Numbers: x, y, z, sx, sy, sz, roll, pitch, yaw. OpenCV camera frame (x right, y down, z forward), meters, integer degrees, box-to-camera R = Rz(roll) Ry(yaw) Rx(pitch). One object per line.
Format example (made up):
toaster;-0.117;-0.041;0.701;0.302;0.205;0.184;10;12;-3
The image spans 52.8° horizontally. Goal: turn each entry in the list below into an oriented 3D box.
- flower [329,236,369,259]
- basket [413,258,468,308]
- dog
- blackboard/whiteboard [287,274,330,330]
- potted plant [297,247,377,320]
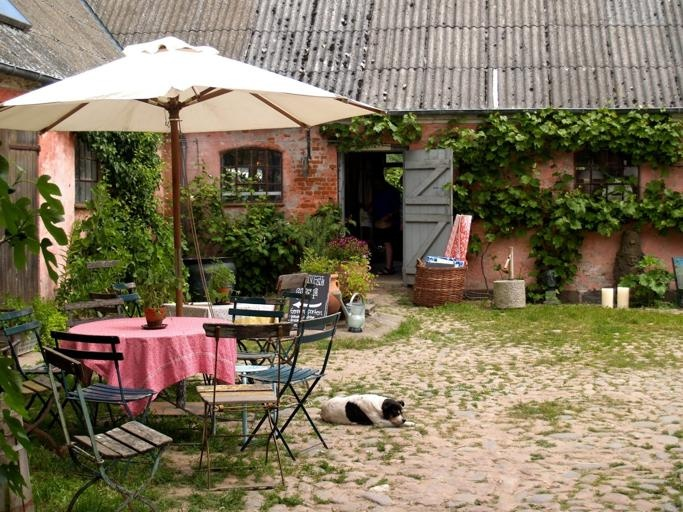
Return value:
flower;0.082;-0.147;11.776;0.480;0.313;0.471;3;-2;-24
basket;1.705;0.445;12.104;0.867;0.758;0.465;1;9;5
dog;0.203;1.489;6.749;0.894;0.274;0.488;1;-6;11
blackboard/whiteboard;-0.467;0.556;10.025;0.525;0.761;0.472;5;12;26
potted plant;0.025;0.377;10.864;1.260;1.170;0.905;1;-4;-18
